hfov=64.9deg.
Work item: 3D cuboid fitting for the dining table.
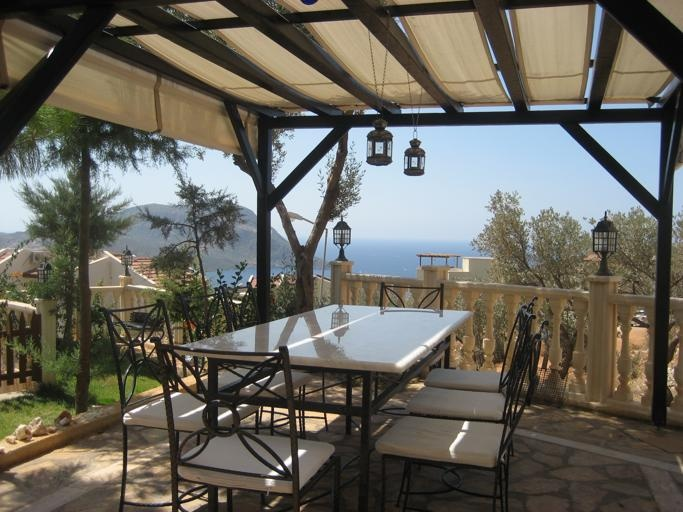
[{"bbox_3d":[-0.041,0.399,3.471,1.075,0.922,1.958,1,3,19],"label":"dining table"}]
